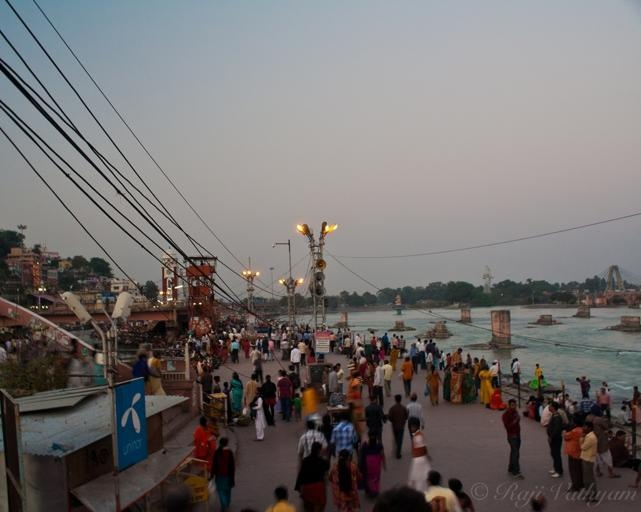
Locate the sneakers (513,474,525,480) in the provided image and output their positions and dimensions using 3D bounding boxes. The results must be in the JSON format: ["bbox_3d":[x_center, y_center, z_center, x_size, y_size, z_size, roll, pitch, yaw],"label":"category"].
[{"bbox_3d":[4.613,5.114,13.546,0.203,0.091,0.089,-2,3,-9],"label":"sneakers"}]

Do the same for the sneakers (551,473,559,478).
[{"bbox_3d":[5.502,5.109,13.663,0.180,0.095,0.111,0,-9,-5],"label":"sneakers"}]

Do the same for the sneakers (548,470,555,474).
[{"bbox_3d":[5.497,5.096,13.838,0.115,0.073,0.283,-4,-9,20],"label":"sneakers"}]

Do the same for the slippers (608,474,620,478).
[{"bbox_3d":[6.866,5.120,13.652,0.262,0.105,0.090,-3,18,7],"label":"slippers"}]

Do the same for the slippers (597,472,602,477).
[{"bbox_3d":[6.618,5.138,13.809,0.122,0.084,0.278,-5,-10,25],"label":"slippers"}]
